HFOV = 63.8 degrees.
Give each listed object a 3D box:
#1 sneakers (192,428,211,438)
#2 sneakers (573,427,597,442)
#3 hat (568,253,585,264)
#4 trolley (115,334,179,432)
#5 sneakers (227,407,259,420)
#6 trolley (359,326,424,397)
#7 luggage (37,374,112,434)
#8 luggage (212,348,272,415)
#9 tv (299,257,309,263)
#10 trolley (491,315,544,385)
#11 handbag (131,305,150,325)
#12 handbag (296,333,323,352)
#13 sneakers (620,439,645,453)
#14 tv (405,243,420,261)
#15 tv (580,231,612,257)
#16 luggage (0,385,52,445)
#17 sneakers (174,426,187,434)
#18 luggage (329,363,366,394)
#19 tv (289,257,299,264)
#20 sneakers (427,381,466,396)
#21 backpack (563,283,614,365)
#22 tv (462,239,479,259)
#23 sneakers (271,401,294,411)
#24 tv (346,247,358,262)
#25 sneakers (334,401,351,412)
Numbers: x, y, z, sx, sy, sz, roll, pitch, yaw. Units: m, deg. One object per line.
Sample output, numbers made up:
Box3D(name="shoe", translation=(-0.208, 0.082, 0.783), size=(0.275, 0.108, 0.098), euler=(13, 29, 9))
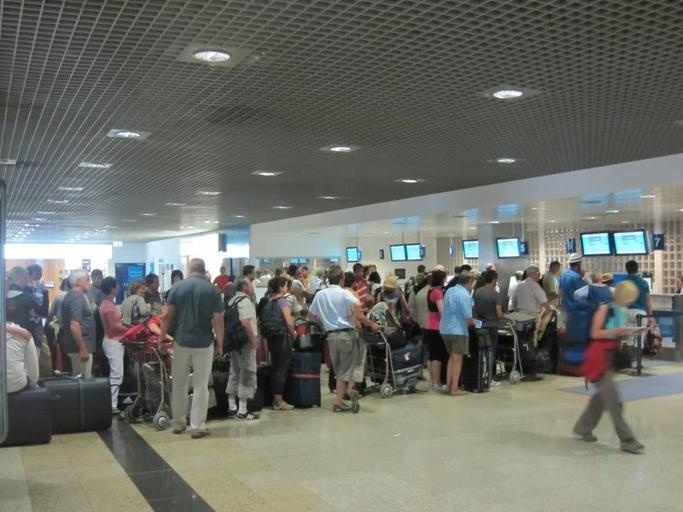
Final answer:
Box3D(name="sneakers", translation=(-1.654, 2.059, 6.473), size=(0.102, 0.085, 0.223), euler=(1, 0, 41))
Box3D(name="sneakers", translation=(2.705, 1.973, 6.105), size=(0.237, 0.128, 0.188), euler=(-1, -1, 23))
Box3D(name="hat", translation=(4.829, 0.052, 11.323), size=(0.297, 0.099, 0.320), euler=(-7, -4, 32))
Box3D(name="trolley", translation=(-2.696, 1.749, 7.312), size=(0.945, 0.985, 0.881), euler=(-17, -27, -17))
Box3D(name="sneakers", translation=(-1.352, 2.100, 7.344), size=(0.461, 0.160, 0.156), euler=(0, -11, 3))
Box3D(name="trolley", translation=(0.776, 1.651, 8.792), size=(1.103, 0.938, 0.817), euler=(-1, -4, -29))
Box3D(name="luggage", translation=(-3.266, 1.753, 6.801), size=(0.744, 0.604, 0.708), euler=(0, -1, -23))
Box3D(name="luggage", translation=(-1.555, 1.811, 7.918), size=(0.801, 0.683, 1.101), euler=(1, -3, -33))
Box3D(name="tv", translation=(-1.599, 0.205, 22.731), size=(0.423, 0.202, 0.259), euler=(-4, 1, -32))
Box3D(name="trolley", translation=(3.125, 1.655, 9.993), size=(0.975, 1.027, 0.960), euler=(0, -2, -7))
Box3D(name="handbag", translation=(-2.865, 0.826, 7.724), size=(0.250, 0.285, 0.131), euler=(7, -8, -12))
Box3D(name="handbag", translation=(-0.488, 1.258, 8.053), size=(0.321, 0.142, 0.235), euler=(12, -19, -43))
Box3D(name="sneakers", translation=(3.004, 1.973, 5.731), size=(0.236, 0.143, 0.125), euler=(-11, -11, 33))
Box3D(name="tv", translation=(2.405, -0.114, 18.540), size=(0.545, 0.466, 0.135), euler=(-2, -6, 41))
Box3D(name="tv", translation=(5.930, -0.278, 12.776), size=(0.226, 0.495, 0.625), euler=(2, -5, -36))
Box3D(name="luggage", translation=(-3.488, 1.799, 6.301), size=(0.656, 0.596, 0.636), euler=(5, -9, -35))
Box3D(name="sneakers", translation=(-1.971, 2.069, 6.609), size=(0.133, 0.094, 0.098), euler=(-15, -6, 4))
Box3D(name="luggage", translation=(0.092, 2.077, 9.379), size=(0.500, 0.439, 0.169), euler=(2, -4, 15))
Box3D(name="tv", translation=(-1.968, 0.202, 22.352), size=(0.473, 0.229, 0.296), euler=(0, -2, -10))
Box3D(name="sneakers", translation=(1.697, 2.136, 8.871), size=(0.605, 0.208, 0.175), euler=(-5, -10, 12))
Box3D(name="backpack", translation=(2.693, 0.773, 5.980), size=(0.472, 0.777, 0.832), euler=(-1, -1, 25))
Box3D(name="tv", translation=(3.591, -0.180, 15.326), size=(0.635, 0.522, 0.067), euler=(16, 36, 40))
Box3D(name="sneakers", translation=(-0.851, 2.129, 7.840), size=(0.243, 0.090, 0.131), euler=(1, -5, -4))
Box3D(name="tv", translation=(0.393, -0.035, 22.375), size=(0.667, 0.629, 0.367), euler=(2, 9, 27))
Box3D(name="sneakers", translation=(0.019, 2.107, 7.794), size=(0.139, 0.100, 0.255), euler=(0, -1, 26))
